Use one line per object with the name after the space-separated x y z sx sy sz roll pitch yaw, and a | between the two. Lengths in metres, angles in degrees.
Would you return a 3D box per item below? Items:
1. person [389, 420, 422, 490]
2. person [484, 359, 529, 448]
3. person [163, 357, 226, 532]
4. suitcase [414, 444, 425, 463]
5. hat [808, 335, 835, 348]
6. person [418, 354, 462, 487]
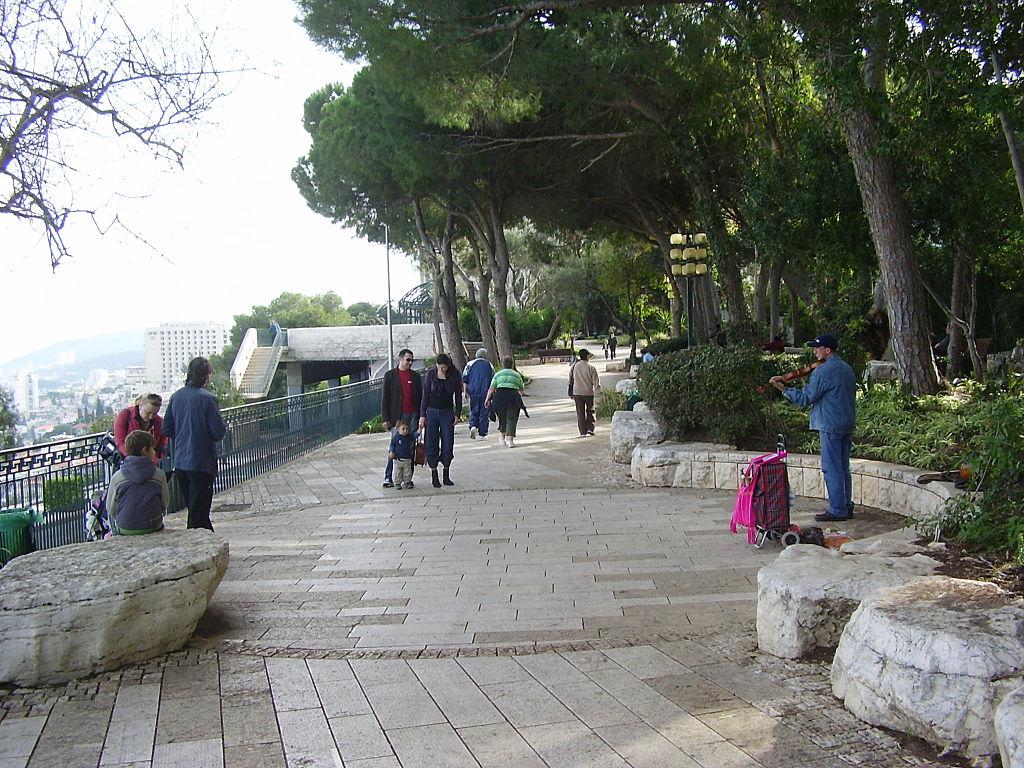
-1.602 0.988 12.620 0.460 1.000 0.571 -6 8 -37 | person
-0.117 0.312 17.057 0.720 1.678 2.038 -2 6 0 | person
-3.420 0.638 9.262 0.603 1.847 0.601 -4 7 -25 | person
-1.329 0.997 12.514 0.071 0.289 0.174 4 9 43 | suitcase
3.422 -0.464 9.437 0.197 0.122 0.149 3 5 24 | hat
-1.030 0.504 12.747 0.585 1.988 1.315 -2 6 -5 | person
